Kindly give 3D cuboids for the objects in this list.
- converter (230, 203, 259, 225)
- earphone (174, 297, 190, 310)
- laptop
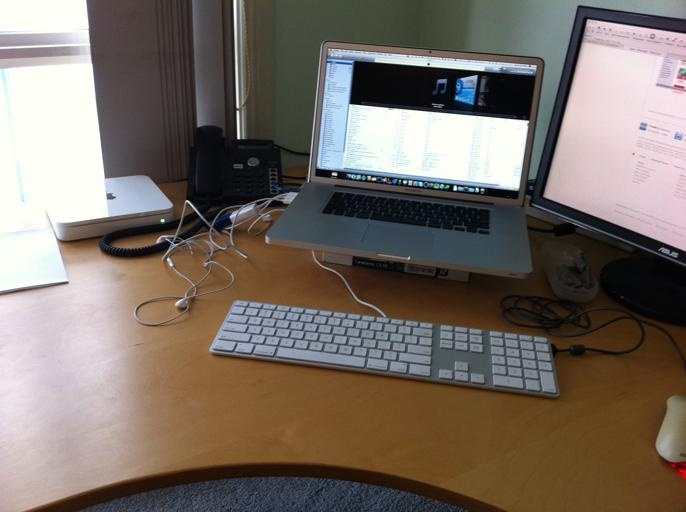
[{"bbox_3d":[-0.240,-0.109,1.364,0.053,0.015,0.053,-39,30,-28],"label":"converter"},{"bbox_3d":[-0.310,0.090,1.084,0.019,0.027,0.013,1,-3,-13],"label":"earphone"},{"bbox_3d":[0.146,-0.259,1.410,0.673,0.511,0.599,7,26,13],"label":"laptop"}]
